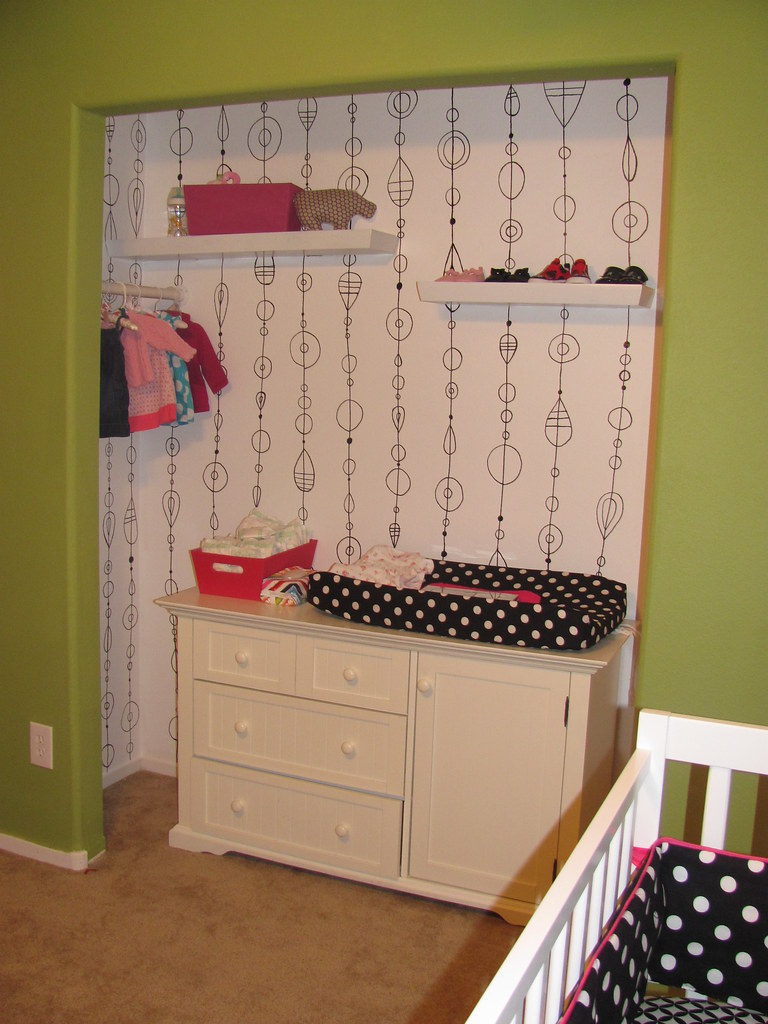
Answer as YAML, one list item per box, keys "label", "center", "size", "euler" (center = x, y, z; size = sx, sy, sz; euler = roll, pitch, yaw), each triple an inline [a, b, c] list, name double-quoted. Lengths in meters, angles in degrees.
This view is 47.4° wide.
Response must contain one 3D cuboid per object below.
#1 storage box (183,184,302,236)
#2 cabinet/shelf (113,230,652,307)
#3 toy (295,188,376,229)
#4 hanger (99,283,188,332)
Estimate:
- label: "storage box"
  center: [-0.409, -0.801, 2.448]
  size: [0.267, 0.121, 0.177]
  euler: [3, 8, 18]
- label: "cabinet/shelf"
  center: [-0.046, -0.671, 2.428]
  size: [1.527, 0.214, 0.261]
  euler: [4, 7, 21]
- label: "toy"
  center: [-0.131, -0.826, 2.378]
  size: [0.201, 0.107, 0.103]
  euler: [1, 21, 7]
- label: "hanger"
  center: [-0.748, -0.617, 2.702]
  size: [0.110, 0.145, 0.372]
  euler: [4, 7, 27]
